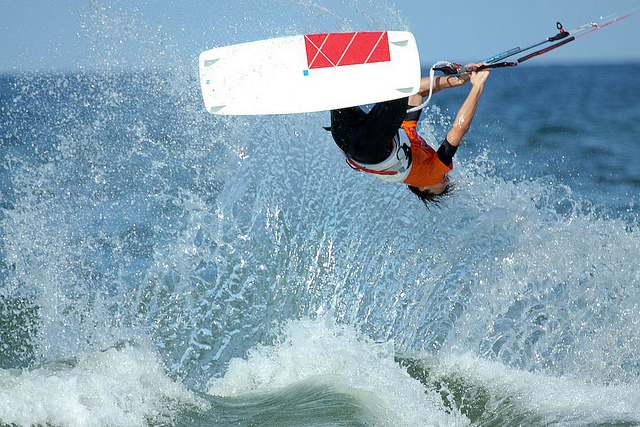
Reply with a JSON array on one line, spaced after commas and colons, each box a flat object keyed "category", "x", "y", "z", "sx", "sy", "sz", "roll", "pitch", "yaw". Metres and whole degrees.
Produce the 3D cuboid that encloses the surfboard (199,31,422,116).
[{"category": "surfboard", "x": -0.170, "y": -2.786, "z": 17.022, "sx": 4.164, "sy": 0.668, "sz": 1.412, "roll": -3, "pitch": 59, "yaw": 3}]
